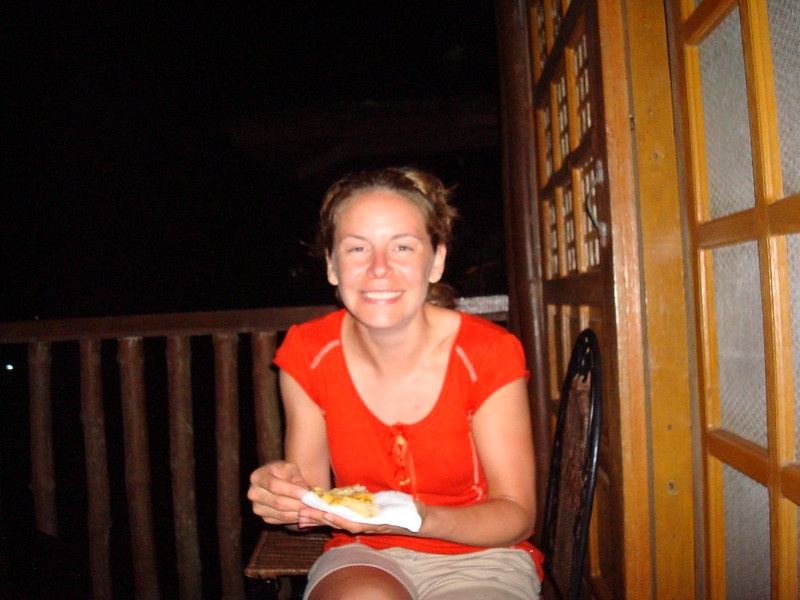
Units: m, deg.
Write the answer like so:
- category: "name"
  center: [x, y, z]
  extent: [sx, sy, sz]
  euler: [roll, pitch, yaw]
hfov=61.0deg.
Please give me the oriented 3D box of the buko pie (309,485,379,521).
- category: "buko pie"
  center: [-0.205, 0.784, 2.680]
  extent: [0.140, 0.052, 0.139]
  euler: [4, -1, -32]
